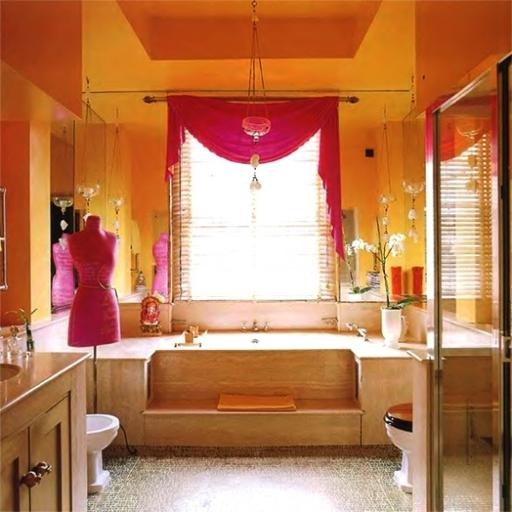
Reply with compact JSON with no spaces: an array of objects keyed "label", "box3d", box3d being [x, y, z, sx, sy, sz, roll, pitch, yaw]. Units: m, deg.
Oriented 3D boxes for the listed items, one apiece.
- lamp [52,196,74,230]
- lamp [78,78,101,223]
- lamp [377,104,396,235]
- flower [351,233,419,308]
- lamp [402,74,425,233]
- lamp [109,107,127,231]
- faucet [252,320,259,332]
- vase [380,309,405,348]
[{"label":"lamp","box3d":[-1.324,-0.306,3.899,0.146,0.263,0.162,1,13,-5]},{"label":"lamp","box3d":[-1.237,-0.792,4.281,0.146,0.989,0.323,-3,-8,11]},{"label":"lamp","box3d":[0.998,-0.582,4.375,0.141,0.831,0.151,0,0,28]},{"label":"flower","box3d":[0.922,0.103,4.299,0.356,0.576,0.500,-5,-13,-9]},{"label":"lamp","box3d":[1.167,-0.724,4.236,0.128,1.130,0.143,-1,17,14]},{"label":"lamp","box3d":[-1.070,-0.524,4.369,0.129,1.049,0.135,-5,30,-23]},{"label":"faucet","box3d":[-0.010,0.530,4.391,0.048,0.089,0.063,-4,-8,13]},{"label":"vase","box3d":[0.912,0.472,3.849,0.138,0.258,0.141,-2,3,-28]}]
